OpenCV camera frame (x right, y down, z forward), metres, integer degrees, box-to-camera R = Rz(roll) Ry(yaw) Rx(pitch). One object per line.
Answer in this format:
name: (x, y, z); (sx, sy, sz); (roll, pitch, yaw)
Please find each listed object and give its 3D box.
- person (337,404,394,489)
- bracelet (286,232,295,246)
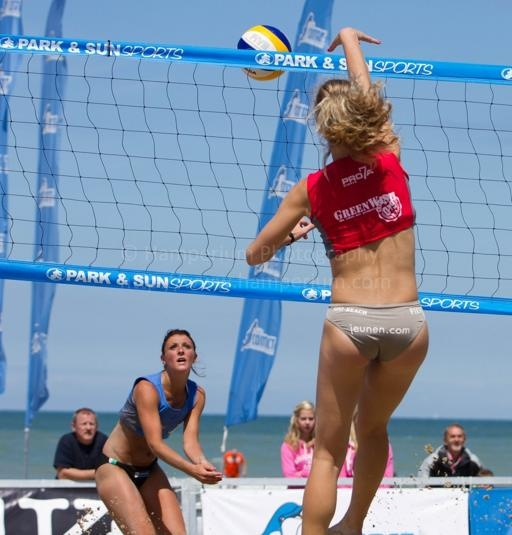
person: (0.798, 1.315, 7.953); (0.588, 0.704, 0.250); (1, 24, 7)
bracelet: (0.180, -0.153, 5.791); (0.020, 0.061, 0.048); (11, 35, 22)
